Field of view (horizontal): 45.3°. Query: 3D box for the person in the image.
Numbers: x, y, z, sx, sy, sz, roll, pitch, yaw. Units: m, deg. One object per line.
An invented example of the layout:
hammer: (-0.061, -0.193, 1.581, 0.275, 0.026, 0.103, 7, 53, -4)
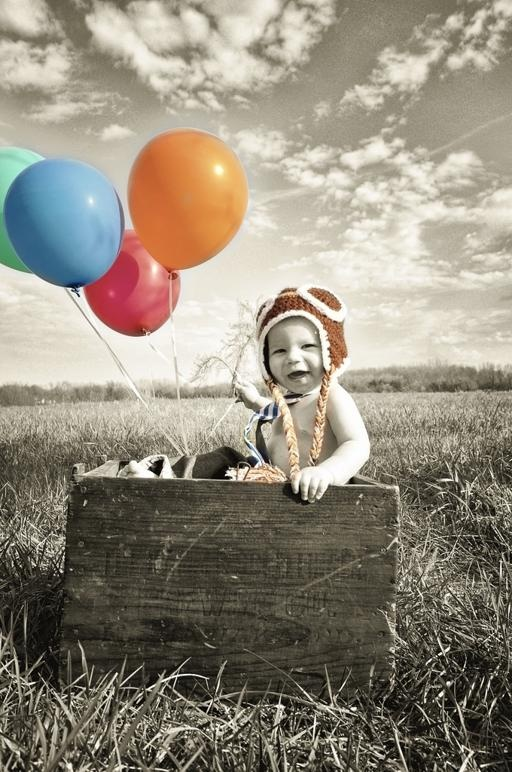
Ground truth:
person: (0.116, -0.007, 1.751, 0.378, 0.531, 0.876, 2, 12, -2)

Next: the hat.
hat: (0.146, -0.164, 1.930, 0.269, 0.293, 0.302, -1, -10, -4)

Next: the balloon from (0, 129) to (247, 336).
balloon: (-0.475, -0.348, 2.264, 0.949, 0.847, 0.564, -4, -6, -14)
